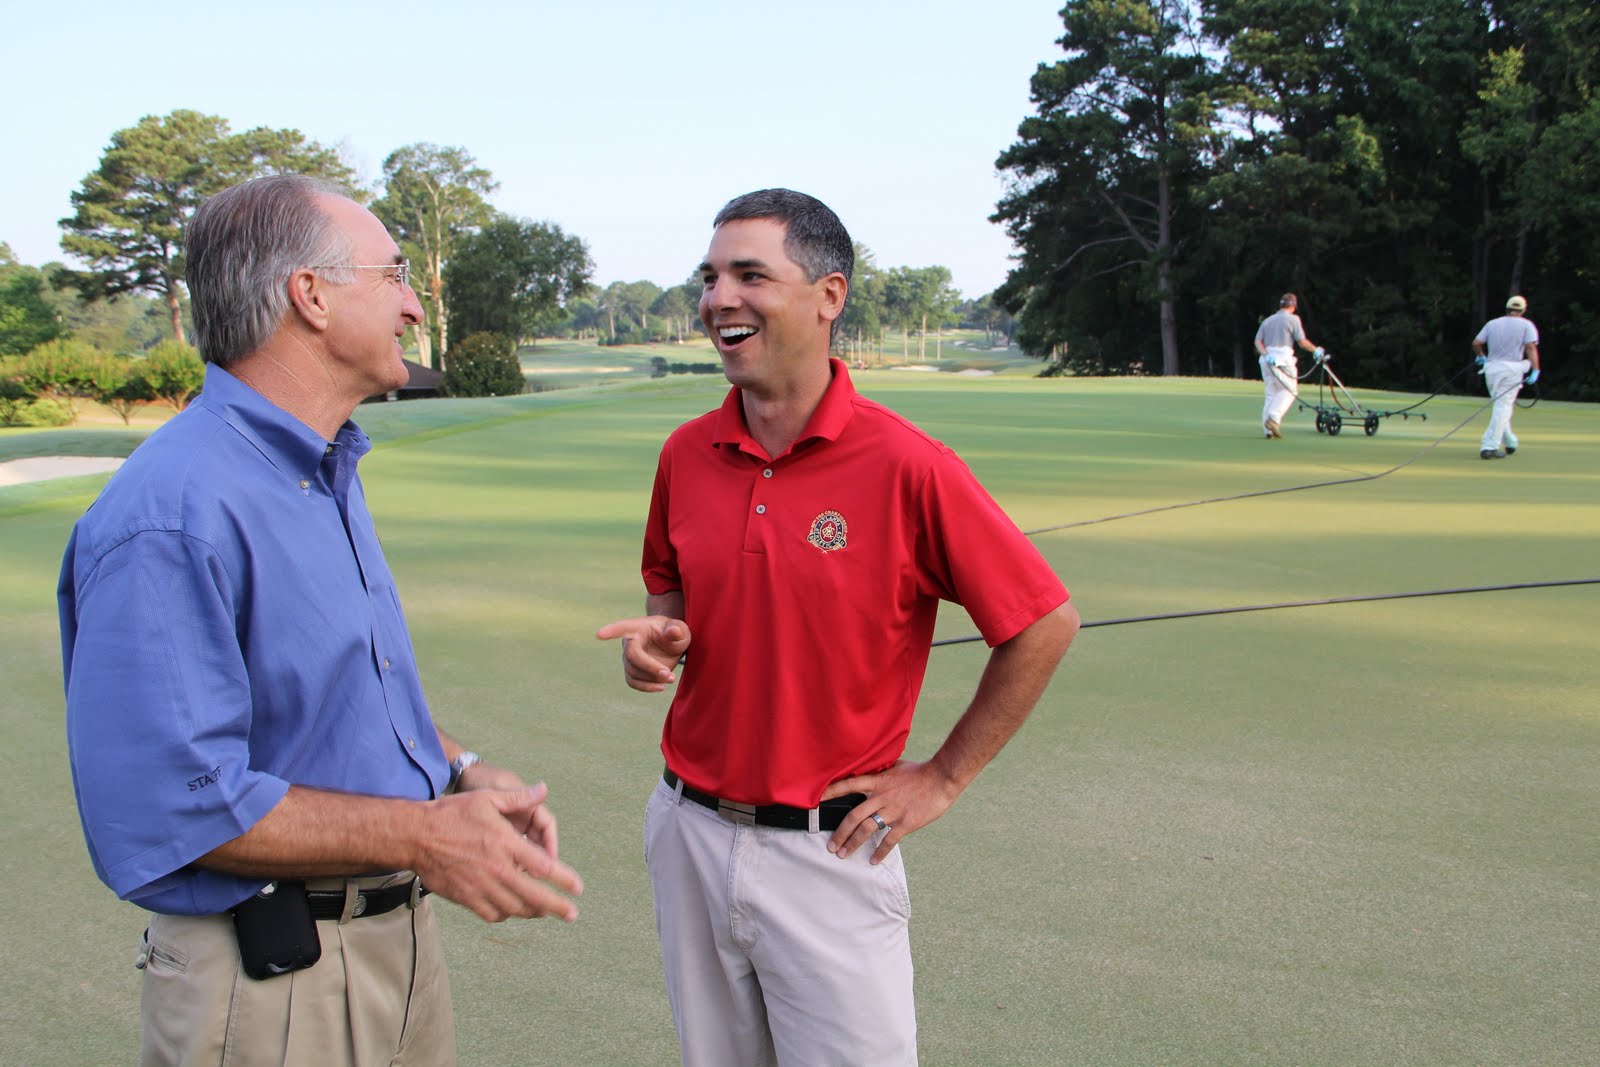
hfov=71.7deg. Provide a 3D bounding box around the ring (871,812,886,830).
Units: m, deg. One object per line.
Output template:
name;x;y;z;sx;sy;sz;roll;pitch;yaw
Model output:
ring;0.180;0.647;2.500;0.025;0.028;0.045;-4;-1;-4

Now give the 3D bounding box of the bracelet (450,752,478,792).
bracelet;-0.800;0.588;2.709;0.072;0.082;0.090;0;-4;-2

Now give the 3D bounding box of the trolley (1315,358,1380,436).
trolley;7.553;-1.950;15.467;1.416;0.976;0.597;-1;4;-39

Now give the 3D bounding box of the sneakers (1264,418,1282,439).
sneakers;6.213;-1.364;14.487;0.133;0.148;0.344;-6;-29;18
